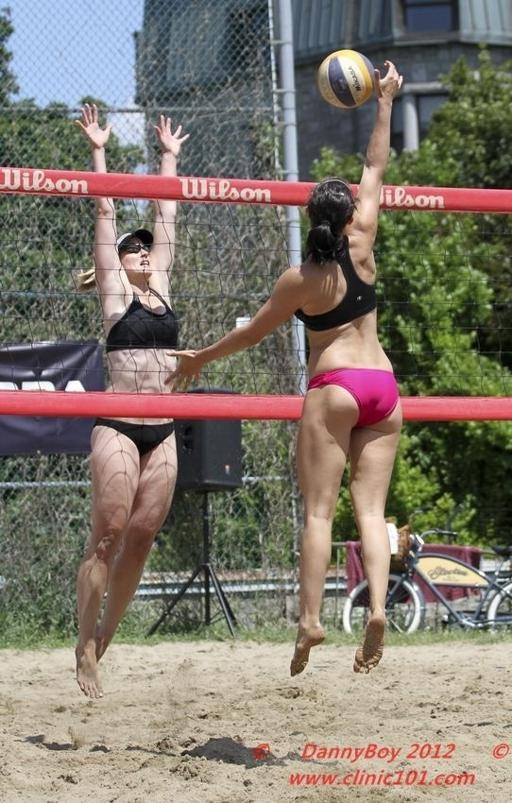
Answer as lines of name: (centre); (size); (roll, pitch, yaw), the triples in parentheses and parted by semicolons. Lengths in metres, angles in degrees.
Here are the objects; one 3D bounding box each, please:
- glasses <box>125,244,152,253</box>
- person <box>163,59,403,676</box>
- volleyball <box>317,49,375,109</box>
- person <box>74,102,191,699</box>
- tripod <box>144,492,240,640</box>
glasses: (-0.489, -0.626, 4.598); (0.055, 0.017, 0.054); (-11, -7, 33)
person: (0.194, -0.032, 4.025); (0.636, 2.091, 0.466); (-1, 4, 6)
volleyball: (0.351, -1.247, 4.393); (0.189, 0.266, 0.139); (-5, 9, -31)
person: (-0.629, 0.019, 4.541); (0.563, 2.390, 0.648); (0, -2, 34)
tripod: (-0.314, 0.980, 6.976); (0.665, 0.917, 0.598); (-4, -10, 18)
